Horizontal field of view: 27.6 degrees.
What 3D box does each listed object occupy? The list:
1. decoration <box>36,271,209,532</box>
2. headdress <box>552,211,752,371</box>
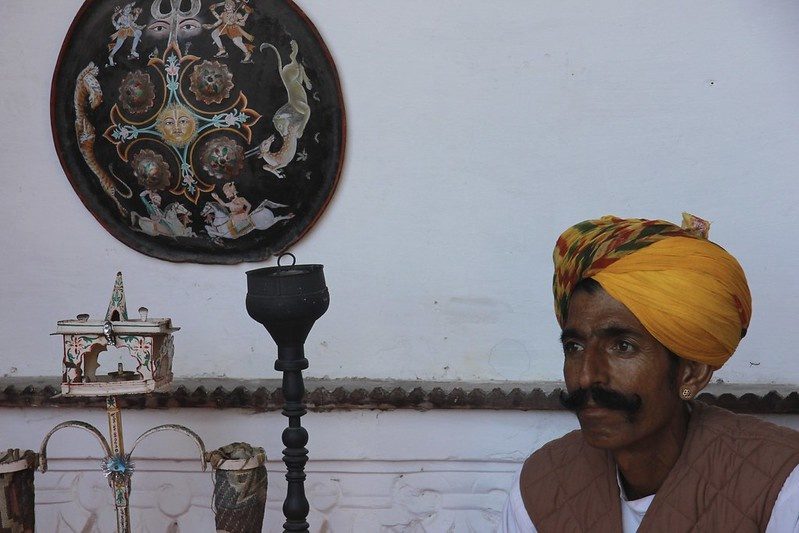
[{"bbox_3d":[-1.321,0.656,7.763,0.782,1.202,0.582,-7,-15,9],"label":"decoration"},{"bbox_3d":[1.113,0.078,7.149,0.799,0.582,0.653,22,7,41],"label":"headdress"}]
